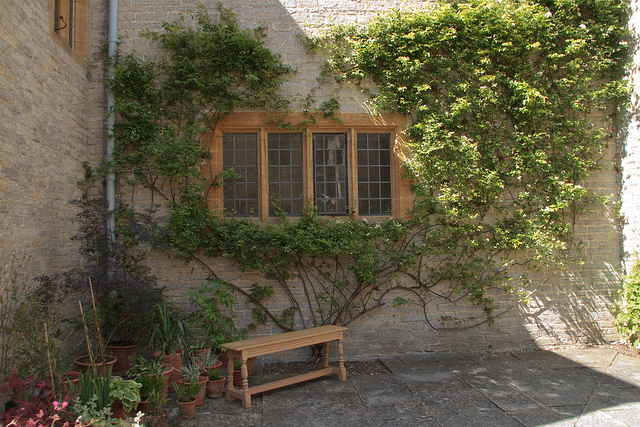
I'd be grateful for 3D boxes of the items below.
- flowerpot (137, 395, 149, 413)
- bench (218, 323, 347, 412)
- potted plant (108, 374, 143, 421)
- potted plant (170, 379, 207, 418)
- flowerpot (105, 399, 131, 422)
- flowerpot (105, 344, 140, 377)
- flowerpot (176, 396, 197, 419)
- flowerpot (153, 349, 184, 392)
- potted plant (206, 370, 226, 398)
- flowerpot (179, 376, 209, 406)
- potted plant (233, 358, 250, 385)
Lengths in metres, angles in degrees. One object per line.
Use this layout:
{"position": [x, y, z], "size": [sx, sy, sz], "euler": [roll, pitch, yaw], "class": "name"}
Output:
{"position": [-2.160, 2.344, 6.110], "size": [0.158, 0.102, 0.148], "euler": [1, -11, -5], "class": "flowerpot"}
{"position": [-0.506, 1.999, 7.265], "size": [2.098, 0.845, 1.367], "euler": [-7, 12, -30], "class": "bench"}
{"position": [-2.343, 2.186, 6.054], "size": [0.487, 0.401, 0.469], "euler": [-1, -1, 18], "class": "potted plant"}
{"position": [-1.674, 2.323, 6.260], "size": [0.370, 0.385, 0.414], "euler": [11, -27, -38], "class": "potted plant"}
{"position": [-2.442, 2.367, 6.072], "size": [0.254, 0.243, 0.272], "euler": [-1, -2, -1], "class": "flowerpot"}
{"position": [-2.753, 2.021, 6.931], "size": [0.436, 0.327, 0.409], "euler": [3, -9, -18], "class": "flowerpot"}
{"position": [-1.629, 2.407, 6.173], "size": [0.211, 0.146, 0.204], "euler": [2, -7, -19], "class": "flowerpot"}
{"position": [-1.934, 2.171, 6.974], "size": [0.543, 0.504, 0.499], "euler": [1, -5, 5], "class": "flowerpot"}
{"position": [-1.402, 2.273, 6.658], "size": [0.332, 0.313, 0.318], "euler": [-4, -6, 21], "class": "potted plant"}
{"position": [-1.635, 2.311, 6.518], "size": [0.355, 0.237, 0.333], "euler": [0, -4, -2], "class": "flowerpot"}
{"position": [-1.094, 2.209, 6.959], "size": [0.309, 0.201, 0.290], "euler": [2, -9, -10], "class": "potted plant"}
